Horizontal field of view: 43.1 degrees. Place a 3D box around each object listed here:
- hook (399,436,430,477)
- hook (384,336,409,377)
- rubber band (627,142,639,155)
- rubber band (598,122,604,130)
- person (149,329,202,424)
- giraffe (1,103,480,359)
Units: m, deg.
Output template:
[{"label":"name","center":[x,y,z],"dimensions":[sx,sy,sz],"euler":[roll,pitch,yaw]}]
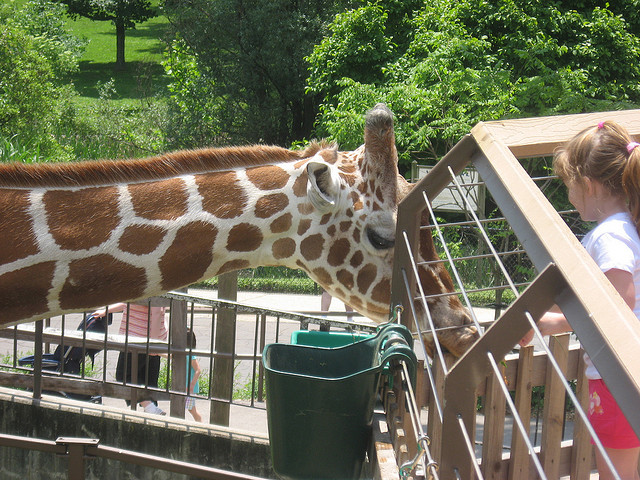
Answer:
[{"label":"hook","center":[0.564,1.262,4.761],"dimensions":[0.123,0.298,0.242],"euler":[0,2,-30]},{"label":"hook","center":[0.486,0.733,5.174],"dimensions":[0.150,0.246,0.221],"euler":[1,1,5]},{"label":"rubber band","center":[2.074,-0.611,5.340],"dimensions":[0.057,0.075,0.037],"euler":[0,1,-11]},{"label":"rubber band","center":[1.850,-0.753,5.296],"dimensions":[0.015,0.043,0.035],"euler":[5,2,-41]},{"label":"person","center":[-1.660,1.585,9.080],"dimensions":[0.666,1.319,0.377],"euler":[5,12,4]},{"label":"giraffe","center":[-0.960,0.031,8.373],"dimensions":[4.299,2.962,2.309],"euler":[2,5,-5]}]
